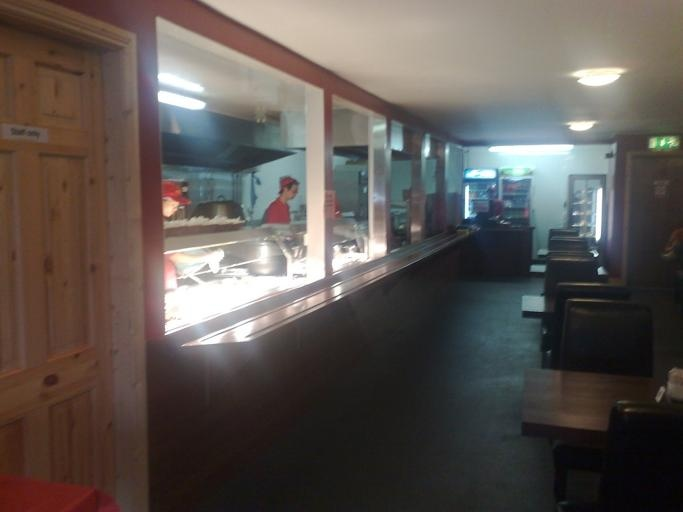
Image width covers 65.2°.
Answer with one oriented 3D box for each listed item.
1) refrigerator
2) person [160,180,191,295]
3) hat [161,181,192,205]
[{"bbox_3d":[3.377,-1.283,11.271,1.343,1.319,0.439,0,-1,14],"label":"refrigerator"},{"bbox_3d":[-1.184,-0.153,3.638,0.264,0.847,0.201,-5,-11,13],"label":"person"},{"bbox_3d":[-1.171,-0.443,3.728,0.152,0.076,0.211,10,-2,-32],"label":"hat"}]
